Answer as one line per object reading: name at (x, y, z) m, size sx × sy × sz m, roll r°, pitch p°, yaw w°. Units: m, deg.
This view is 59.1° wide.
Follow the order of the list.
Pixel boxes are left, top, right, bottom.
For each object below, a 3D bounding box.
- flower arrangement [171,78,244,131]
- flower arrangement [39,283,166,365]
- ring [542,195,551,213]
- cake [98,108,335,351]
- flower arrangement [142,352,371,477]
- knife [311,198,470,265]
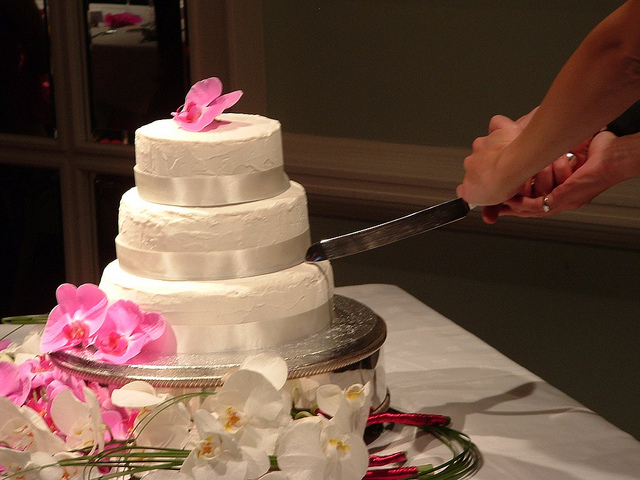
flower arrangement at (-0.261, -0.305, 1.325) m, size 0.154 × 0.128 × 0.123 m, roll 19°, pitch 29°, yaw 35°
flower arrangement at (-0.464, 0.183, 1.179) m, size 0.245 × 0.108 × 0.120 m, roll 14°, pitch 30°, yaw 7°
ring at (0.526, -0.083, 1.317) m, size 0.017 × 0.034 × 0.008 m, roll 3°, pitch 27°, yaw 23°
cake at (-0.249, -0.050, 1.375) m, size 0.538 × 0.464 × 0.518 m, roll -14°, pitch 21°, yaw -37°
flower arrangement at (-0.080, 0.321, 0.939) m, size 0.280 × 0.097 × 0.258 m, roll 25°, pitch 46°, yaw 20°
knife at (0.285, -0.033, 2.074) m, size 0.701 × 0.093 × 0.051 m, roll -21°, pitch 6°, yaw -4°
